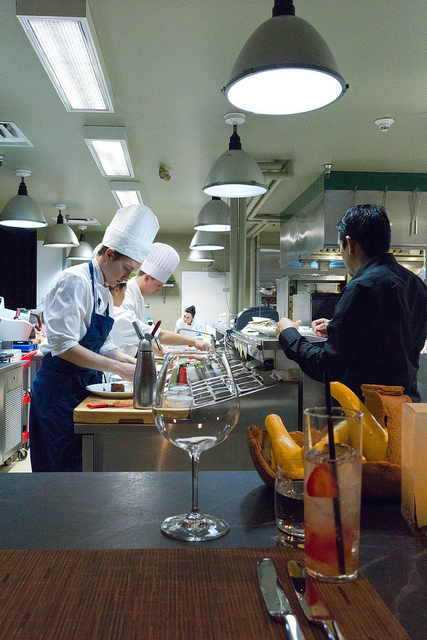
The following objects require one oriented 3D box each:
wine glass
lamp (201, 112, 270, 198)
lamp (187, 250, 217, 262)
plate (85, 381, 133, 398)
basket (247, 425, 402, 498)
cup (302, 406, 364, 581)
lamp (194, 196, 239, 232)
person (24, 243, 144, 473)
[{"bbox_3d":[-0.033,0.160,0.655,0.113,0.232,0.185,3,-7,-12],"label":"wine glass"},{"bbox_3d":[0.133,-0.884,2.689,0.373,0.443,0.376,-4,-3,40],"label":"lamp"},{"bbox_3d":[-0.175,-0.818,6.002,0.344,0.174,0.336,0,-1,-21],"label":"lamp"},{"bbox_3d":[-0.409,0.274,1.835,0.171,0.061,0.283,3,-7,-13],"label":"plate"},{"bbox_3d":[0.166,0.224,0.692,0.152,0.058,0.127,4,-7,-12],"label":"basket"},{"bbox_3d":[0.123,0.176,0.475,0.058,0.155,0.075,0,-7,11],"label":"cup"},{"bbox_3d":[0.011,-0.851,3.858,0.308,0.314,0.302,1,-9,0],"label":"lamp"},{"bbox_3d":[-0.491,0.139,1.861,0.411,0.951,0.515,5,-8,-26],"label":"person"}]
